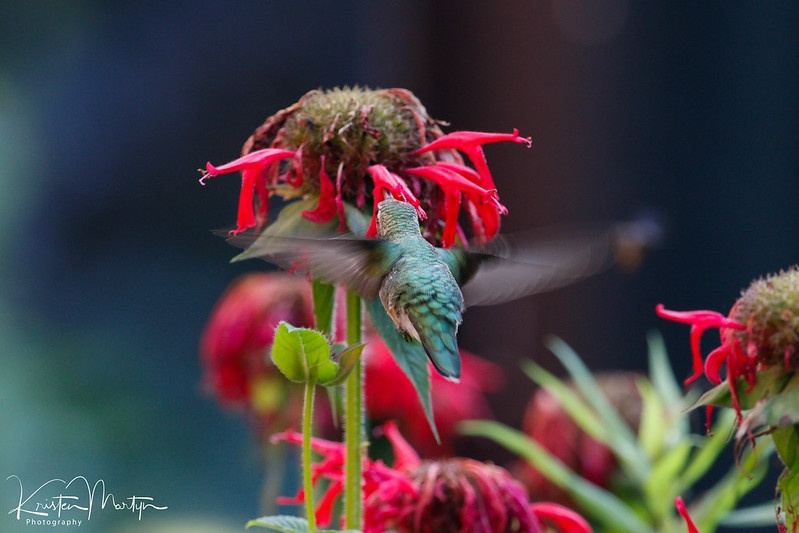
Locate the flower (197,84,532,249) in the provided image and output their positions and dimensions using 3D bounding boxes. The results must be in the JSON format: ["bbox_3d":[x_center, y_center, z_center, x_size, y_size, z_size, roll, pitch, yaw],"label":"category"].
[{"bbox_3d":[-0.087,-0.218,1.815,0.612,0.283,0.586,10,8,42],"label":"flower"}]

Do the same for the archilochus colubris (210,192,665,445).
[{"bbox_3d":[0.077,0.086,1.692,0.800,0.426,0.210,4,-10,-10],"label":"archilochus colubris"}]
